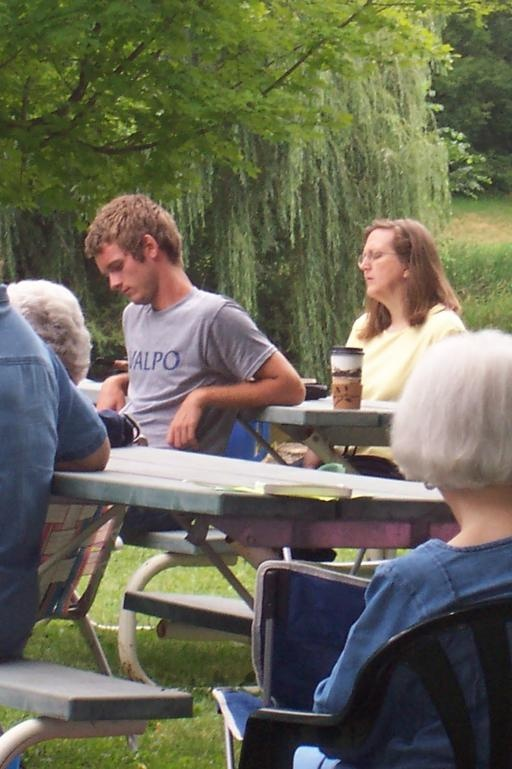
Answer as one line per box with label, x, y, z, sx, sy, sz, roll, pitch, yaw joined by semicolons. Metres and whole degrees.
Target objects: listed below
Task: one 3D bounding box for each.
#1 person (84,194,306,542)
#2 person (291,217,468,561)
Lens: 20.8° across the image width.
person;-0.383;0.050;4.243;0.970;1.193;0.671;-1;0;-11
person;0.474;0.116;4.675;0.571;1.277;0.490;-16;16;-43
